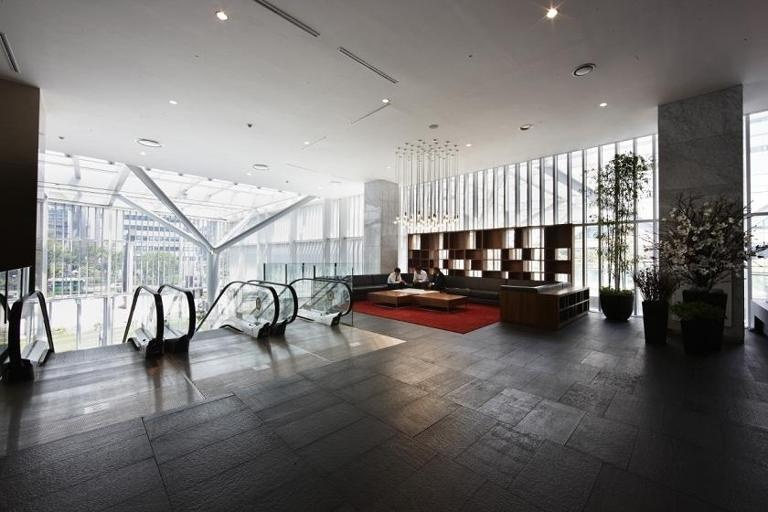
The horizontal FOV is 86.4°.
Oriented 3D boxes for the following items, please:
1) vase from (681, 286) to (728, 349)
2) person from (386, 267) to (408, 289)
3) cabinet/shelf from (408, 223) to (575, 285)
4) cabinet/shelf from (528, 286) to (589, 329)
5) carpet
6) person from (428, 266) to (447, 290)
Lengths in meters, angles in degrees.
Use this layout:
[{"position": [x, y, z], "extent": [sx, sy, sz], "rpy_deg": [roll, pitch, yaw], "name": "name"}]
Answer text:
[{"position": [6.490, 1.256, 8.239], "extent": [0.641, 1.192, 1.133], "rpy_deg": [-1, 0, 40], "name": "vase"}, {"position": [0.444, 0.871, 15.337], "extent": [0.837, 1.095, 0.565], "rpy_deg": [-2, -4, 14], "name": "person"}, {"position": [3.785, -0.098, 14.728], "extent": [5.984, 1.908, 0.769], "rpy_deg": [-1, 1, 40], "name": "cabinet/shelf"}, {"position": [4.589, 1.241, 10.491], "extent": [0.522, 0.995, 2.273], "rpy_deg": [-1, 1, 45], "name": "cabinet/shelf"}, {"position": [1.263, 1.649, 11.316], "extent": [1.377, 0.340, 2.667], "rpy_deg": [0, -1, -38], "name": "carpet"}, {"position": [1.898, 0.789, 14.342], "extent": [0.650, 0.911, 0.722], "rpy_deg": [-1, -11, 26], "name": "person"}]
